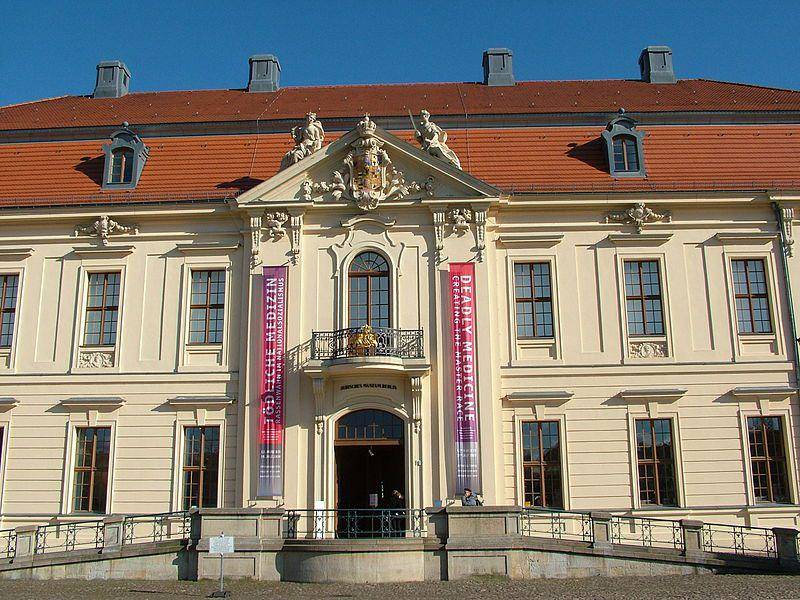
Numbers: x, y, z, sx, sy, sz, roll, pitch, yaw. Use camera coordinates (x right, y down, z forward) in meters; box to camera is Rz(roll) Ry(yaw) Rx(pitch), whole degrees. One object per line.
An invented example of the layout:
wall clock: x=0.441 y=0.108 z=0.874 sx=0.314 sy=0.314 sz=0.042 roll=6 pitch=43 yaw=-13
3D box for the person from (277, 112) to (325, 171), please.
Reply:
person: x=-3.237 y=-5.352 z=29.229 sx=1.244 sy=2.213 sz=1.536 roll=8 pitch=-17 yaw=-31

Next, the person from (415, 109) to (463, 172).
person: x=1.218 y=-5.267 z=28.948 sx=1.384 sy=2.173 sz=0.608 roll=-3 pitch=-15 yaw=8
